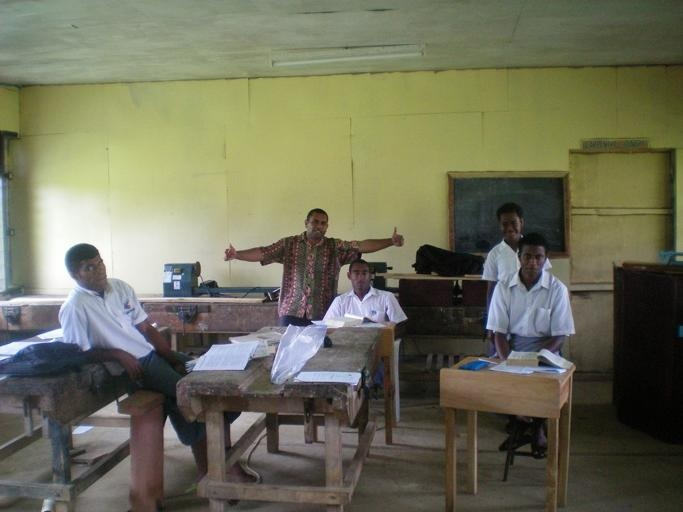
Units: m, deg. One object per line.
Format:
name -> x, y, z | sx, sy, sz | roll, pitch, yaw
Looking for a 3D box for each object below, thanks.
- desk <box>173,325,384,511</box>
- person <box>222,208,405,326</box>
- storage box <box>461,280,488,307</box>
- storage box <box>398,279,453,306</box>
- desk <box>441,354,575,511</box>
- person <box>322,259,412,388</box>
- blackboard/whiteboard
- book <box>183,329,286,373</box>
desk -> -0.387, 1.233, 5.489 | 1.221, 1.205, 1.399 | 1, 6, 7
person -> -0.212, 0.100, 7.195 | 1.252, 1.243, 0.304 | 2, -15, -1
storage box -> 1.285, 0.373, 7.169 | 0.264, 0.255, 0.254 | 0, -3, 5
storage box -> 0.828, 0.363, 7.219 | 0.427, 0.188, 0.301 | 0, 0, 12
desk -> 1.404, 1.256, 5.761 | 1.158, 1.404, 0.946 | 0, 3, 21
person -> 0.212, 0.624, 6.700 | 0.879, 1.072, 0.593 | -3, -3, -15
blackboard/whiteboard -> 1.724, -0.445, 7.304 | 1.034, 0.678, 0.046 | 0, -1, 4
book -> -0.768, 0.705, 5.251 | 0.412, 0.048, 0.436 | -16, 6, 2
